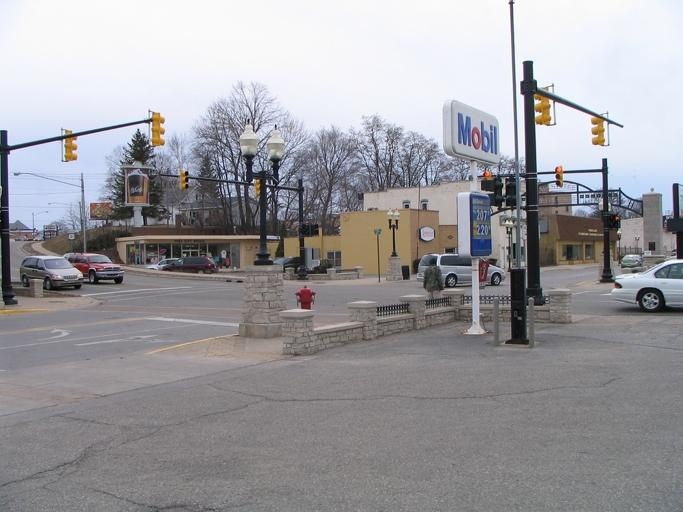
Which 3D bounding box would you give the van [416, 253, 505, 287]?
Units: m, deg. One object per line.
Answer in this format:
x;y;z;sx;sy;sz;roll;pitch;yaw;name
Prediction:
6.355;0.949;37.668;5.259;2.027;4.694;-1;2;-25;van

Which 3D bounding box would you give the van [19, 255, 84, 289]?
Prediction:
-16.282;0.911;37.061;1.781;1.454;3.524;1;-3;-44;van

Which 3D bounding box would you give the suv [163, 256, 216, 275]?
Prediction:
-12.275;0.815;54.120;3.473;1.323;1.729;3;-3;2;suv
